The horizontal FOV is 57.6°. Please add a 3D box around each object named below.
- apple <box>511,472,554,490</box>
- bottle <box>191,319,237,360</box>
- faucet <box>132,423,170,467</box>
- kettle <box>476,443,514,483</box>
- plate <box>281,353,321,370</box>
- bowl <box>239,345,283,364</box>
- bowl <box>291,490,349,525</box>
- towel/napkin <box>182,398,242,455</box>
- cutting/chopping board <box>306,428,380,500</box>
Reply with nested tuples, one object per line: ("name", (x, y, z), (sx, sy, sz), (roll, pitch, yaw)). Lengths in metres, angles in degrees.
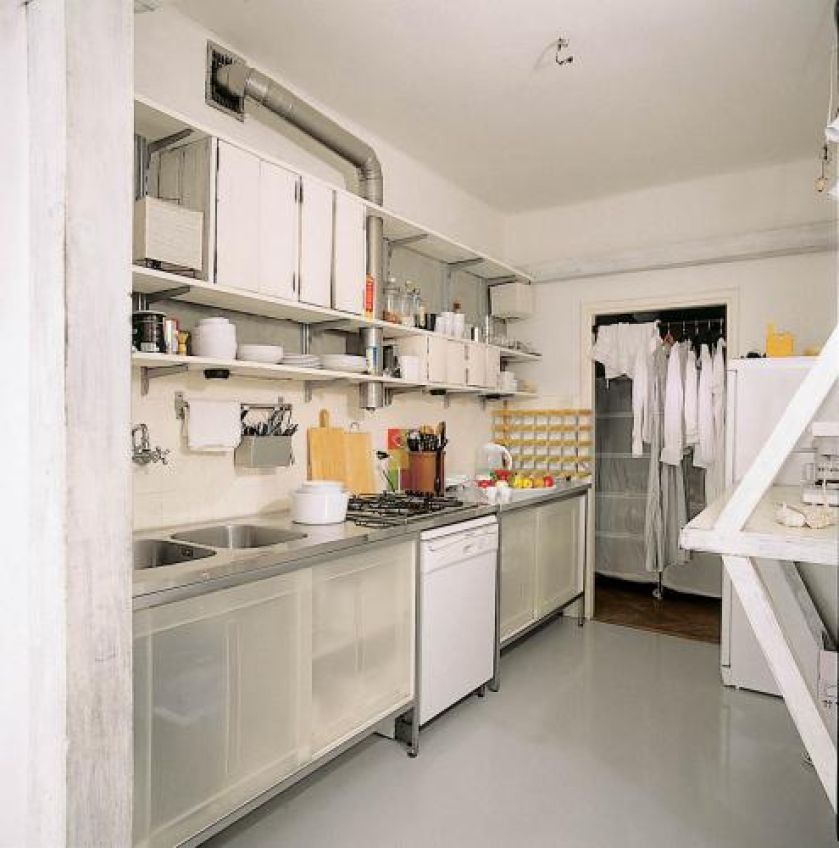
("apple", (0.632, 0.321, 4.261), (0.311, 0.084, 0.199), (-2, 3, -42))
("bottle", (-0.701, -0.282, 2.644), (0.128, 0.140, 0.137), (2, 2, 14))
("faucet", (-0.912, 0.076, 2.610), (0.057, 0.153, 0.175), (1, 2, 26))
("kettle", (0.450, 0.234, 4.689), (0.251, 0.292, 0.162), (0, -3, 33))
("plate", (-0.450, -0.238, 2.983), (0.096, 0.057, 0.297), (1, 2, 17))
("bowl", (-0.560, -0.247, 2.784), (0.104, 0.068, 0.221), (2, 3, 43))
("bowl", (-0.364, 0.301, 2.806), (0.149, 0.086, 0.120), (-2, -4, 36))
("towel/napkin", (-0.757, 0.013, 2.796), (0.044, 0.188, 0.191), (2, 3, 32))
("cutting/chopping board", (-0.344, 0.181, 3.542), (0.347, 0.288, 0.039), (-1, 6, 31))
